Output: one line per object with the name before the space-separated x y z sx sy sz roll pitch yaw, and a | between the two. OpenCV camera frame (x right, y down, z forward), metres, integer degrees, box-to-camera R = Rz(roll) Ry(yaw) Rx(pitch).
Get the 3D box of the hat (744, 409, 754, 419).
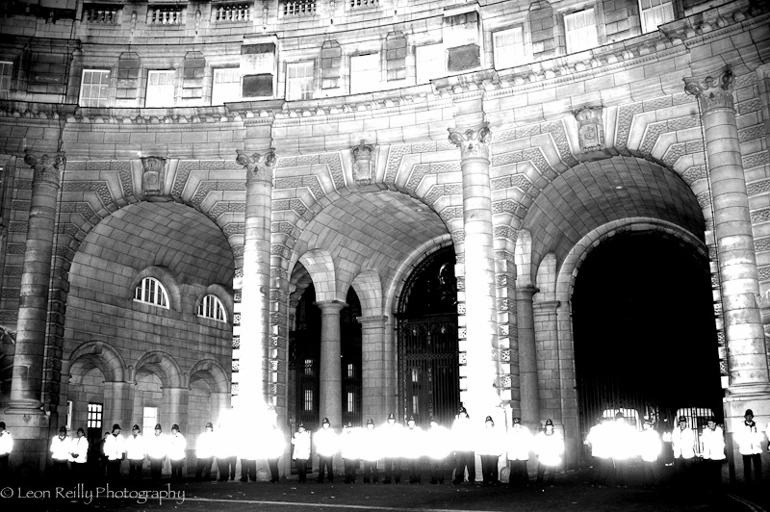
hat | 13.995 6.103 32.807 0.299 0.336 0.396 0 -8 -15
